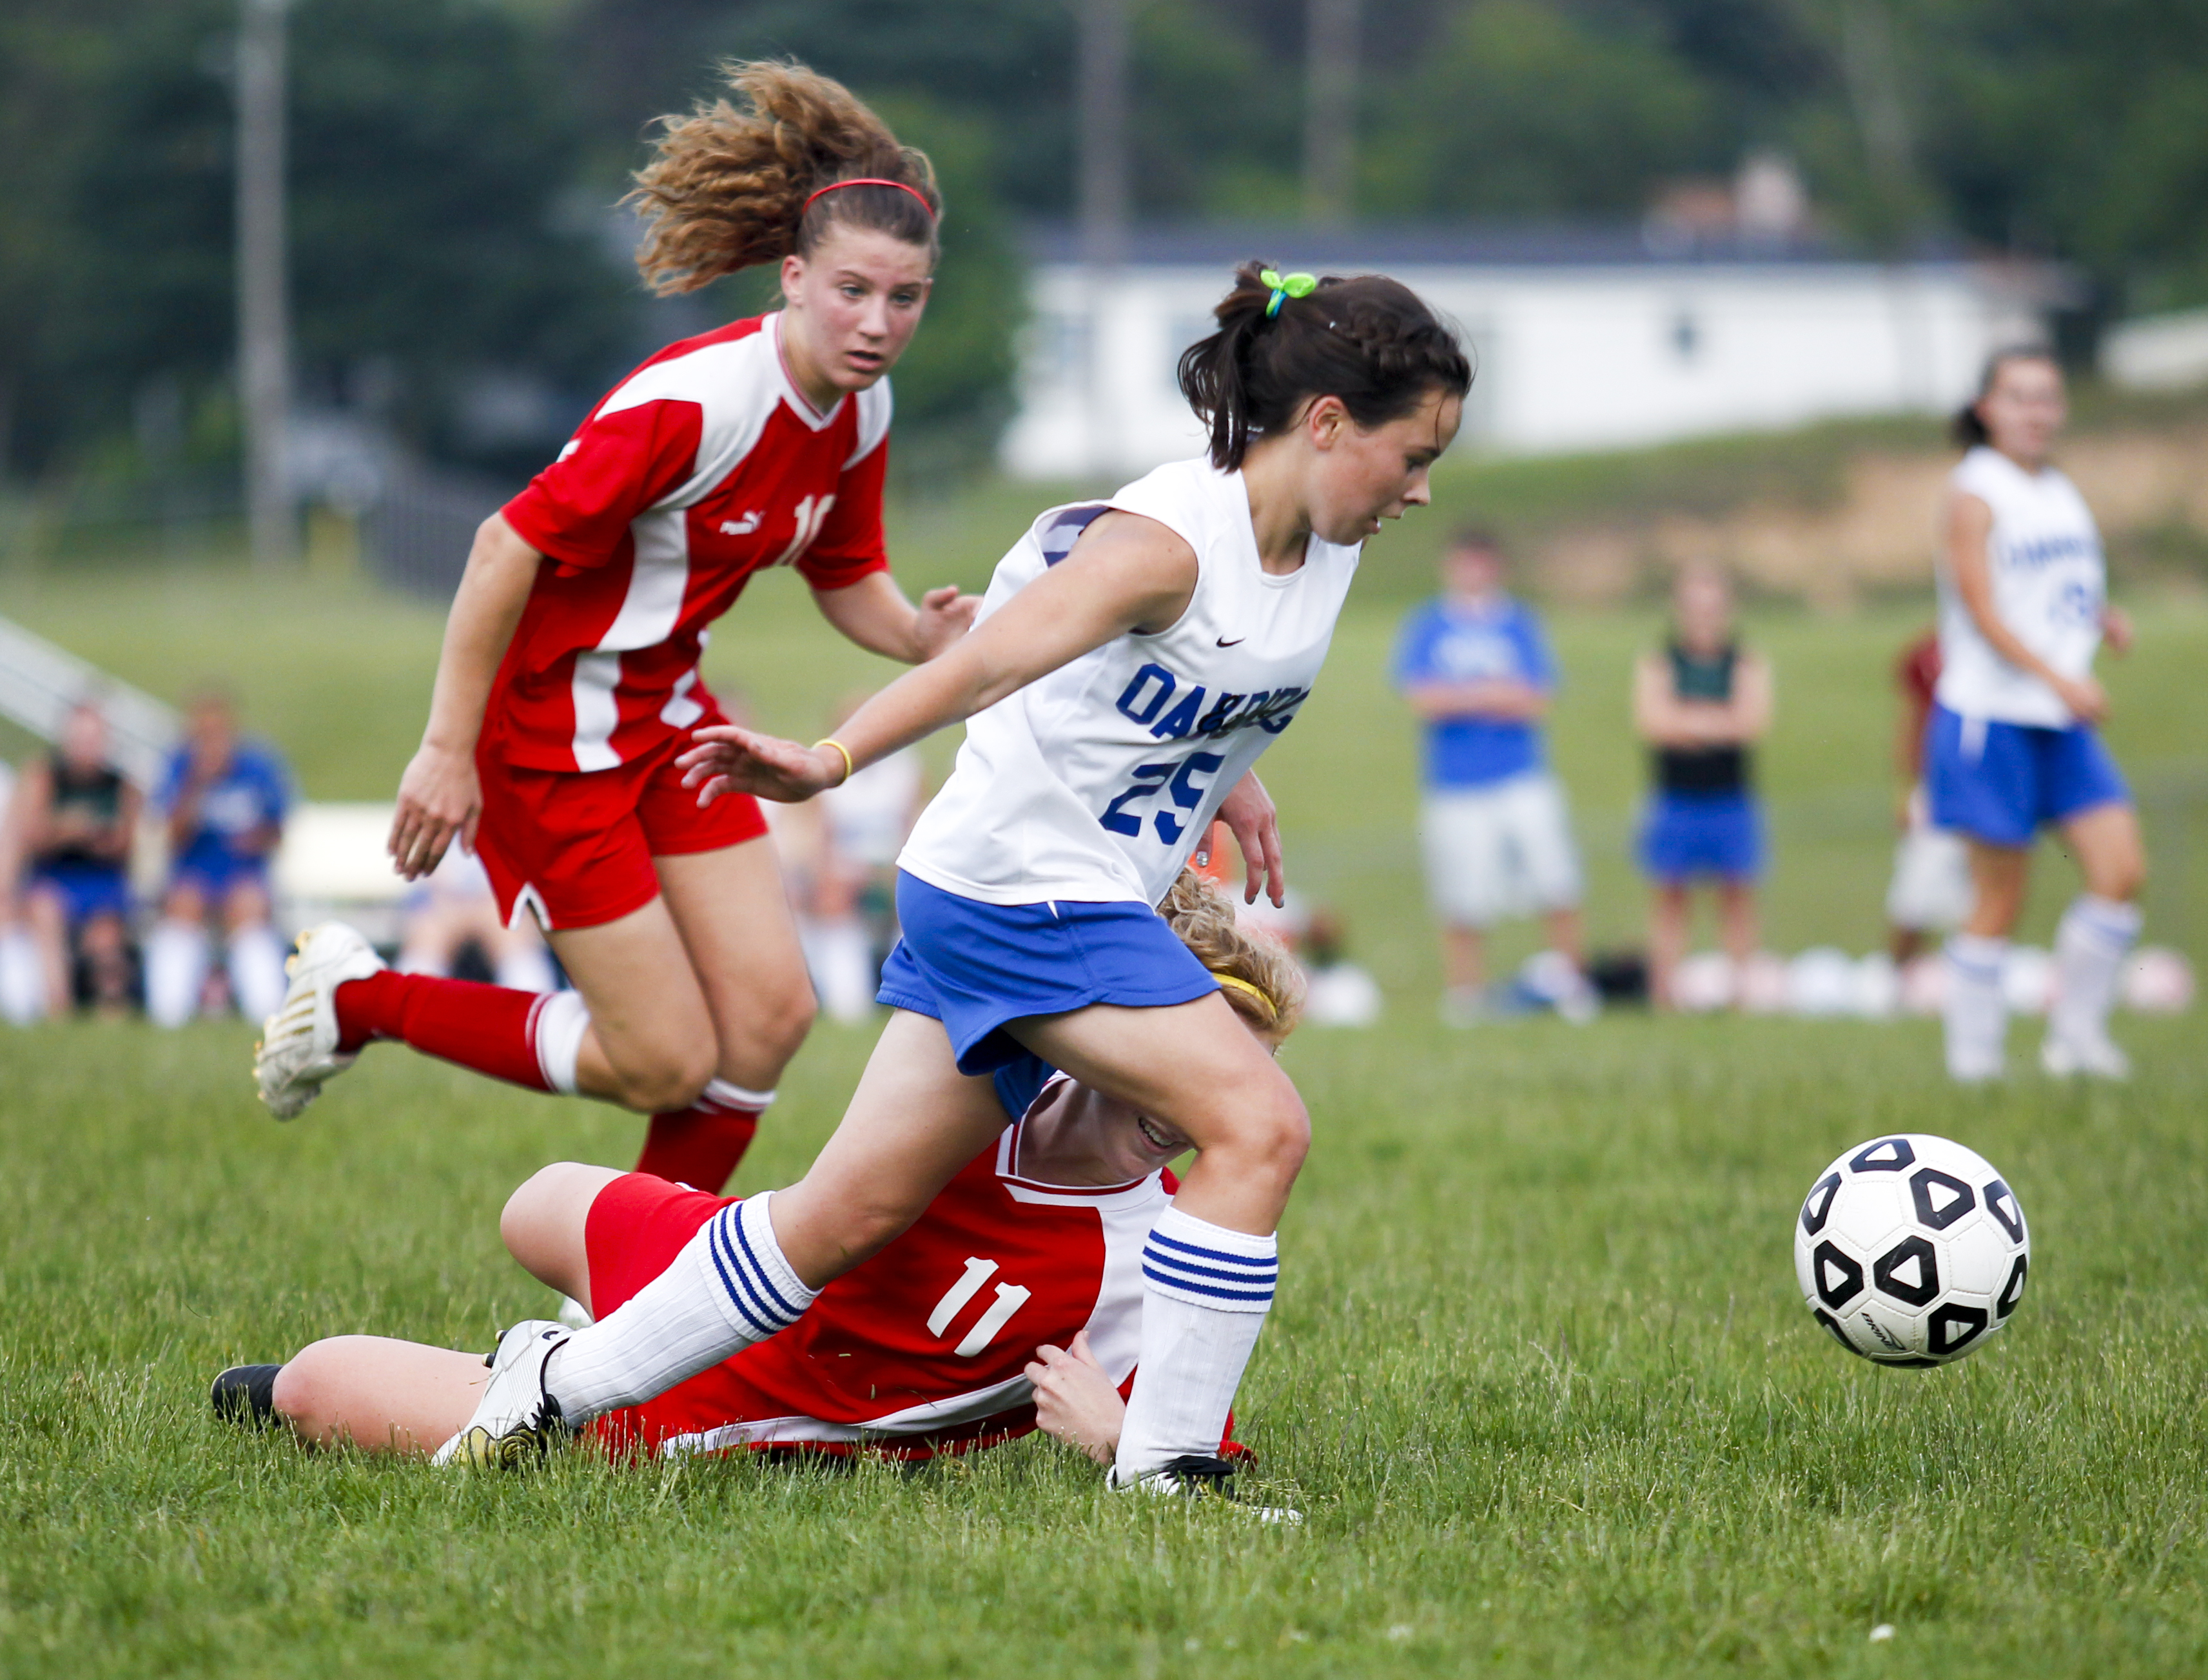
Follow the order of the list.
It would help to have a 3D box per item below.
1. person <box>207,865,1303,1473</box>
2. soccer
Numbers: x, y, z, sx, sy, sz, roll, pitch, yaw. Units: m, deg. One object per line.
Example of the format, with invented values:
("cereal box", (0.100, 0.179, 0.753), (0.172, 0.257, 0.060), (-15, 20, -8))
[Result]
("person", (-1.005, 1.088, 10.039), (2.414, 1.098, 1.539), (-7, -25, 10))
("soccer", (2.474, 1.233, 10.219), (0.657, 0.721, 0.687), (-6, -5, -2))
